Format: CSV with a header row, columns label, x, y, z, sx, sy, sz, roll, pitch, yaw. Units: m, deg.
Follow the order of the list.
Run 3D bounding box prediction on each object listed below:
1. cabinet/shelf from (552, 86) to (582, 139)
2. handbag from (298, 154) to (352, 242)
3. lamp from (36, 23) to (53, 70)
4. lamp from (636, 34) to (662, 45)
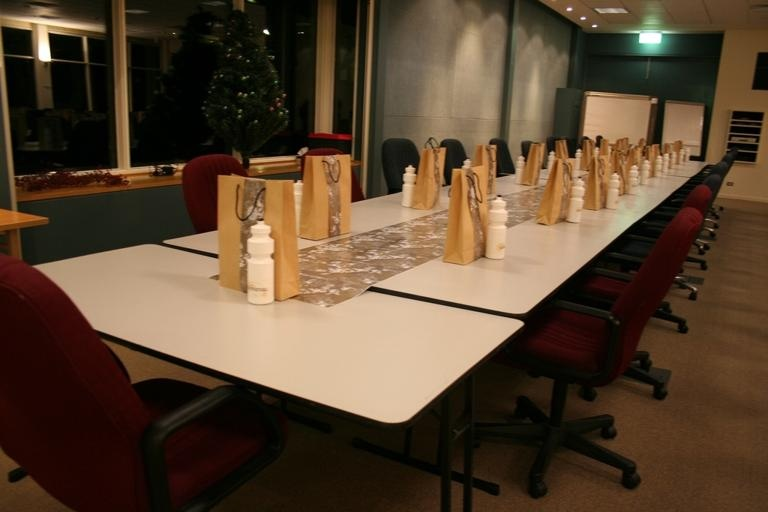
label,x,y,z,sx,sy,sz,roll,pitch,yaw
cabinet/shelf,4.219,-3.261,12.427,0.905,1.105,0.311,-13,22,-37
handbag,-0.309,-0.294,2.776,0.149,0.476,0.349,15,22,31
lamp,-2.712,-1.694,4.320,0.097,0.277,0.043,2,12,1
lamp,6.025,-4.910,12.221,0.472,0.252,0.302,7,19,22
